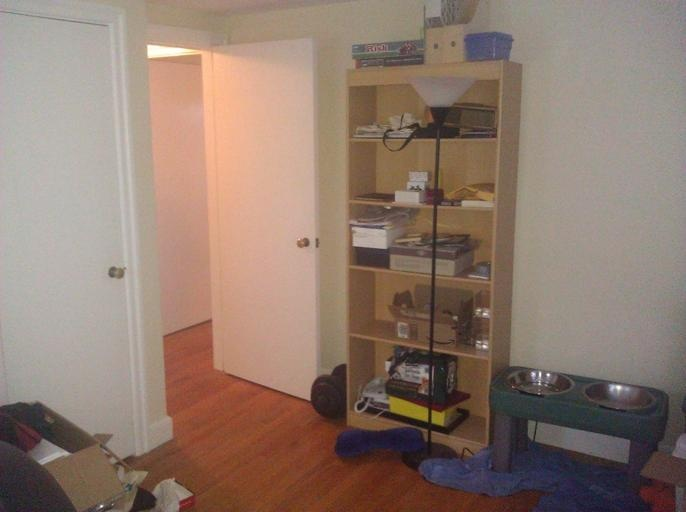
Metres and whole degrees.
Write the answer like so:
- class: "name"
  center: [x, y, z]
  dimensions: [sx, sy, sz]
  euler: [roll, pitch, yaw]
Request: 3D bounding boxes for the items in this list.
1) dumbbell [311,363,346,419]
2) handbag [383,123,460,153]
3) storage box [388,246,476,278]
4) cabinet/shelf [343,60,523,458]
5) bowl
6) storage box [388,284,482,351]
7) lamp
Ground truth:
- class: "dumbbell"
  center: [-0.083, 0.918, 3.954]
  dimensions: [0.211, 0.345, 0.242]
  euler: [-3, 15, -32]
- class: "handbag"
  center: [0.460, -0.743, 3.505]
  dimensions: [0.357, 0.086, 0.217]
  euler: [-4, 12, -10]
- class: "storage box"
  center: [0.566, -0.021, 3.624]
  dimensions: [0.483, 0.181, 0.343]
  euler: [7, 14, 28]
- class: "cabinet/shelf"
  center: [0.550, -0.067, 3.633]
  dimensions: [0.995, 2.400, 0.604]
  euler: [6, 14, 22]
- class: "bowl"
  center: [1.323, 0.784, 3.260]
  dimensions: [0.784, 0.097, 0.377]
  euler: [6, 17, 27]
- class: "storage box"
  center: [0.590, 0.376, 3.644]
  dimensions: [0.488, 0.324, 0.365]
  euler: [1, -2, 33]
- class: "lamp"
  center: [0.502, 0.151, 3.422]
  dimensions: [0.266, 2.279, 0.405]
  euler: [3, 14, 10]
